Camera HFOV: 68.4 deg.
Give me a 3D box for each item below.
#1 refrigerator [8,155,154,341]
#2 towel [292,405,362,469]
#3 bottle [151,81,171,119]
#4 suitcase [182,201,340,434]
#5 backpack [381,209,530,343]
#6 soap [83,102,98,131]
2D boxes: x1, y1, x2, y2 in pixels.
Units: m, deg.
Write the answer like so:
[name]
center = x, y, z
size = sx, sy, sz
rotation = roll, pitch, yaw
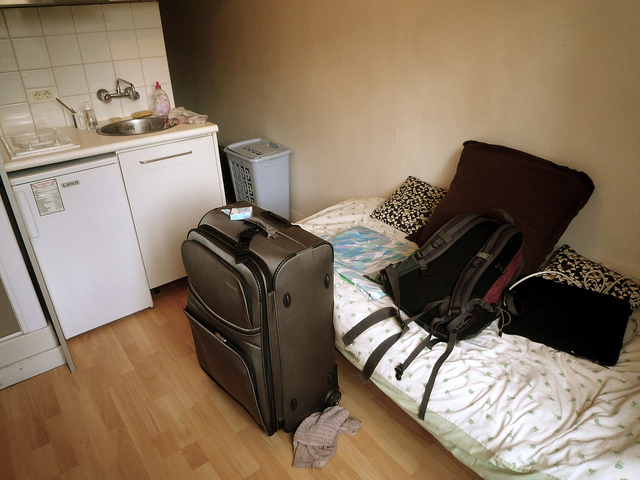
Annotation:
[refrigerator]
center = -1.342, 0.034, 2.720
size = 0.532, 0.934, 0.266
rotation = -20, 36, -33
[towel]
center = 0.010, 0.951, 2.326
size = 0.256, 0.083, 0.401
rotation = 10, 30, 40
[bottle]
center = -1.106, -0.975, 3.263
size = 0.111, 0.203, 0.177
rotation = -9, 32, -18
[suitcase]
center = -0.325, 0.361, 2.449
size = 0.590, 1.036, 0.741
rotation = -20, 32, -37
[backpack]
center = 0.690, 0.147, 2.418
size = 0.774, 0.237, 0.583
rotation = -45, 45, -20
[soap]
center = -1.461, -0.786, 2.998
size = 0.072, 0.127, 0.209
rotation = -13, 34, -24
